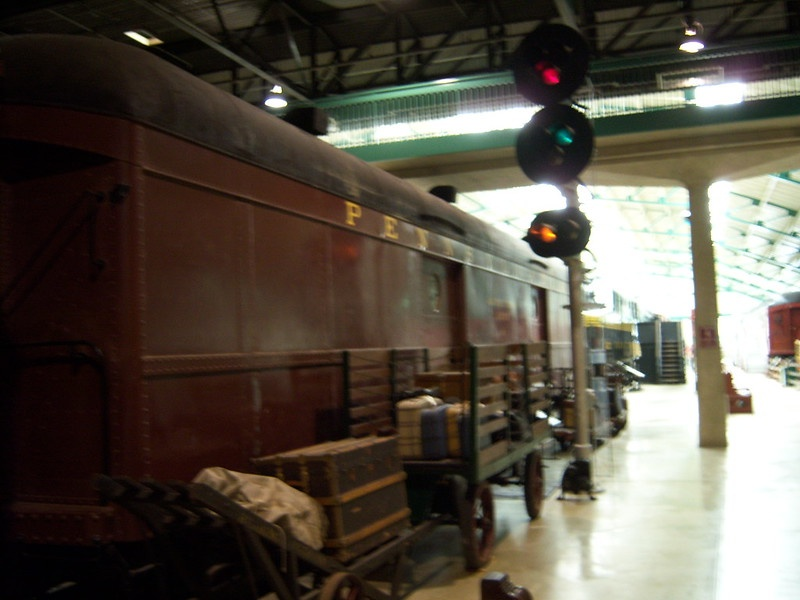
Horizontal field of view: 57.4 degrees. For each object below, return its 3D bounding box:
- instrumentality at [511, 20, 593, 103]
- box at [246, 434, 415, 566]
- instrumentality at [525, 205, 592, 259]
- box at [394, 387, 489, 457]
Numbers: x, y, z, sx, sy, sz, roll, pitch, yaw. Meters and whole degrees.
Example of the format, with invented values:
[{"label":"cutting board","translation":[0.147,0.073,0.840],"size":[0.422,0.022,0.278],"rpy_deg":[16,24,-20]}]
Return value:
[{"label":"instrumentality","translation":[1.148,-1.812,5.567],"size":[0.596,0.611,0.250],"rpy_deg":[15,14,15]},{"label":"box","translation":[-0.595,1.353,5.829],"size":[0.801,0.831,1.226],"rpy_deg":[-5,-1,22]},{"label":"instrumentality","translation":[1.359,-0.495,6.120],"size":[0.579,0.182,0.584],"rpy_deg":[18,13,-15]},{"label":"box","translation":[0.351,1.199,7.306],"size":[0.544,0.553,0.790],"rpy_deg":[-1,-2,13]}]
